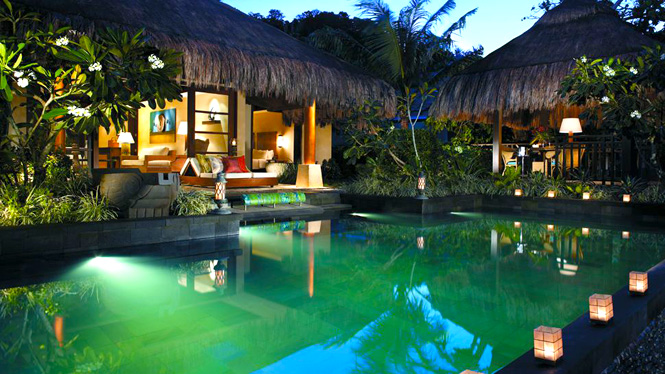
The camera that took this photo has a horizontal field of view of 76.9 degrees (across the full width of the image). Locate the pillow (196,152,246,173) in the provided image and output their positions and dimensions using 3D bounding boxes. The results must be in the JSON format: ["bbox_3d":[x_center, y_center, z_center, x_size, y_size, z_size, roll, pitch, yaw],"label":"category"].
[{"bbox_3d":[-2.966,-0.606,11.275,0.822,0.260,0.697,1,12,-26],"label":"pillow"}]

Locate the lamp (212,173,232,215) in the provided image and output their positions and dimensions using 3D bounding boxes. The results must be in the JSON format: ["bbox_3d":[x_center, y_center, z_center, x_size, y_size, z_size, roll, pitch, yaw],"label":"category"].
[{"bbox_3d":[-2.053,0.144,7.816,0.277,0.807,0.902,-4,15,-16],"label":"lamp"}]

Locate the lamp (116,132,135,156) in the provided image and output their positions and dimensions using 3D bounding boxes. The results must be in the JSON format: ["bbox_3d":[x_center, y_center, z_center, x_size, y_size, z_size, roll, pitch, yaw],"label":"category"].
[{"bbox_3d":[-7.070,-1.462,14.377,0.638,0.765,0.643,-2,-3,-13],"label":"lamp"}]

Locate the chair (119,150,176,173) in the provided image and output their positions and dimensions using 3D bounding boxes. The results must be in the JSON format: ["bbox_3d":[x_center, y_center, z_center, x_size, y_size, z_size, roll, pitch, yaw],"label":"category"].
[{"bbox_3d":[-5.640,-0.854,13.149,1.829,0.545,0.857,10,18,32],"label":"chair"}]

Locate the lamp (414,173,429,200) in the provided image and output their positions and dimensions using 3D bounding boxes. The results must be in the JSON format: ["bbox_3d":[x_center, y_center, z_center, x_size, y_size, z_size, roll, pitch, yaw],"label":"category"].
[{"bbox_3d":[2.170,-0.026,10.091,0.273,0.558,0.617,3,15,11],"label":"lamp"}]

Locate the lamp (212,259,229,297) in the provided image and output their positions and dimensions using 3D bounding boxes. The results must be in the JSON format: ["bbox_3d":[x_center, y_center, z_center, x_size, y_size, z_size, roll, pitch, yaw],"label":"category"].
[{"bbox_3d":[-1.505,1.246,5.684,0.188,0.523,0.192,-2,-2,40],"label":"lamp"}]
